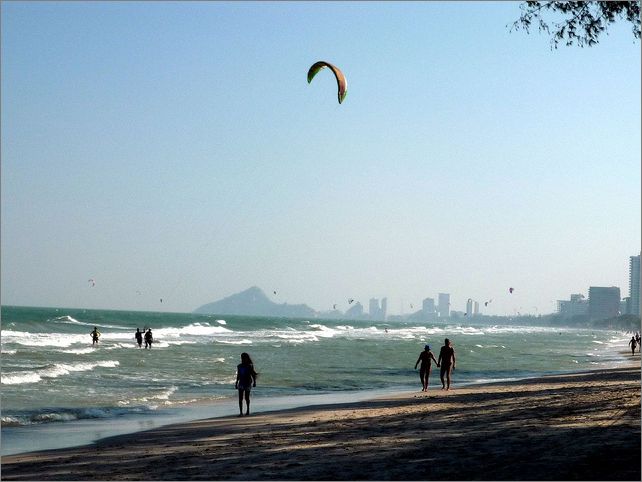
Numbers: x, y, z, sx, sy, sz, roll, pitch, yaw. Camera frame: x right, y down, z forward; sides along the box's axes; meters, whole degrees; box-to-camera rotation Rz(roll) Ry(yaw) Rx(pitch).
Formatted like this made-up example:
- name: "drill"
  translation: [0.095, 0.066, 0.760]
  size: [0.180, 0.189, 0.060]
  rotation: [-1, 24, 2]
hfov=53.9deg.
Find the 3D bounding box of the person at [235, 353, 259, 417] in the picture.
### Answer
- name: "person"
  translation: [-1.950, 3.715, 16.405]
  size: [0.488, 1.664, 2.580]
  rotation: [3, -7, -7]
